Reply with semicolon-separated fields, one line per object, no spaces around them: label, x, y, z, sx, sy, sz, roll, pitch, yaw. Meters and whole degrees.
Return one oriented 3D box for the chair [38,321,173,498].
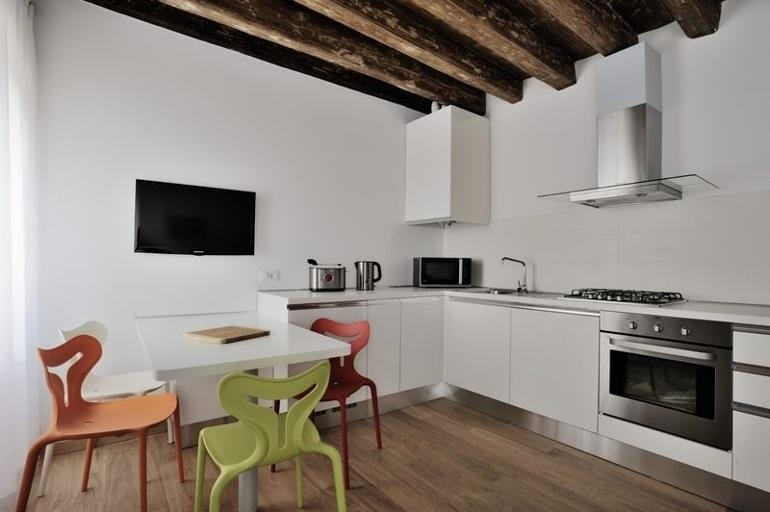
chair;-2.030;1.129;3.896;0.889;1.087;0.811;13;6;-8

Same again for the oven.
oven;2.287;0.879;4.321;0.959;0.934;0.643;3;4;37

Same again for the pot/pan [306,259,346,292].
pot/pan;-0.565;0.202;5.040;0.263;0.245;0.355;0;-3;-27

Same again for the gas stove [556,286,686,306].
gas stove;2.001;0.333;4.463;0.867;0.082;0.517;1;1;32

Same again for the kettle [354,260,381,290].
kettle;-0.181;0.189;5.416;0.239;0.278;0.482;0;1;-3

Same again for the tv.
tv;-1.730;-0.346;4.697;0.722;0.452;0.078;1;0;-32

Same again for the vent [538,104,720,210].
vent;2.113;-0.993;4.658;0.769;0.955;1.542;-7;8;-22

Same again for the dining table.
dining table;-1.231;0.877;3.936;1.101;1.035;1.729;0;0;-36

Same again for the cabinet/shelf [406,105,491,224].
cabinet/shelf;0.653;-0.952;5.586;0.897;1.177;0.481;0;2;10

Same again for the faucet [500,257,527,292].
faucet;1.319;0.173;5.362;0.208;0.357;0.409;-1;1;-16
